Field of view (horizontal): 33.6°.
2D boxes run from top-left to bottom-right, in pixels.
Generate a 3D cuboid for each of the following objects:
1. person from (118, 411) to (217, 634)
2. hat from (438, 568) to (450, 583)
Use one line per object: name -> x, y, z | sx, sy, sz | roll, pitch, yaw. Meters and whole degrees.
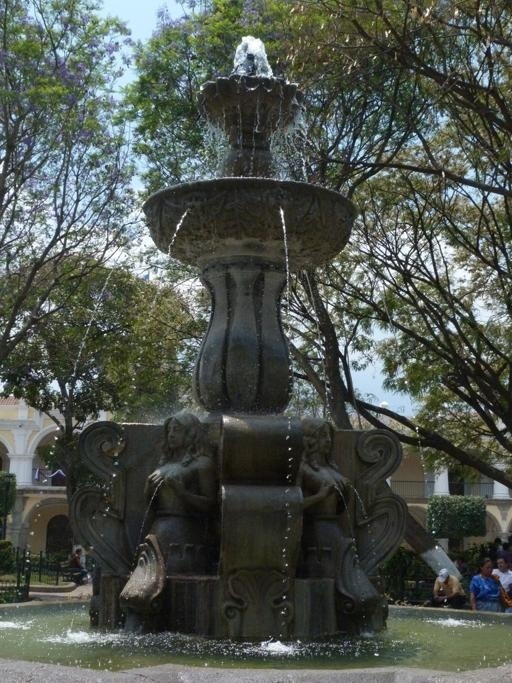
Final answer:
person -> -0.515, 1.188, 5.709 | 0.568, 1.450, 0.921 | 9, -11, -1
hat -> 2.255, 2.806, 10.163 | 0.152, 0.109, 0.223 | 1, 7, 17
